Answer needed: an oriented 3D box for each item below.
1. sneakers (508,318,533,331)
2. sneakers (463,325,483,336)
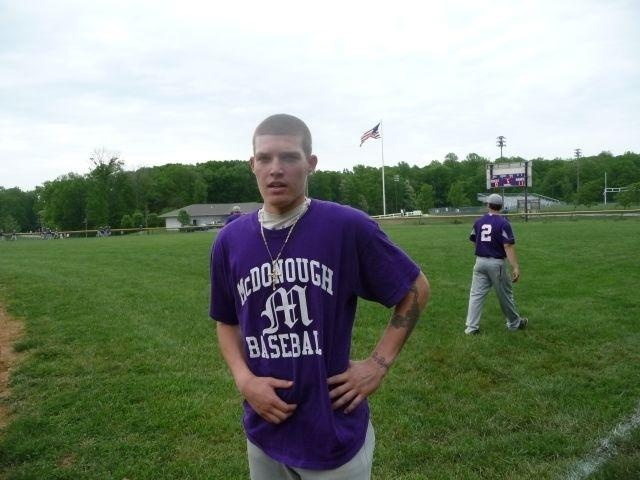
[{"bbox_3d":[3.747,1.583,10.145,0.434,0.171,0.206,-16,-9,7],"label":"sneakers"},{"bbox_3d":[2.801,1.681,10.110,0.127,0.159,0.366,0,-3,-7],"label":"sneakers"}]
